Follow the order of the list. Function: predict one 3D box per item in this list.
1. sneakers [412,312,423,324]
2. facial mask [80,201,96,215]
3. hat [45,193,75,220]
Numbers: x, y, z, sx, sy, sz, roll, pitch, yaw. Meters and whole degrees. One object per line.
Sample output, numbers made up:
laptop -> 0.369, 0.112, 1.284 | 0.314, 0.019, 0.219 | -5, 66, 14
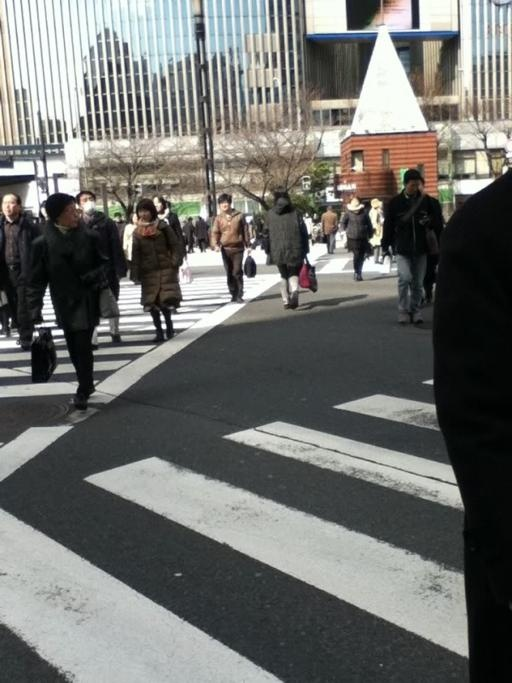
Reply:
sneakers -> 2.098, -0.309, 10.123 | 0.110, 0.175, 0.377 | -2, 1, 9
facial mask -> -2.027, -1.619, 9.456 | 0.122, 0.151, 0.155 | -12, -9, -32
hat -> -1.545, -1.067, 6.152 | 0.215, 0.219, 0.303 | -4, 8, -11
